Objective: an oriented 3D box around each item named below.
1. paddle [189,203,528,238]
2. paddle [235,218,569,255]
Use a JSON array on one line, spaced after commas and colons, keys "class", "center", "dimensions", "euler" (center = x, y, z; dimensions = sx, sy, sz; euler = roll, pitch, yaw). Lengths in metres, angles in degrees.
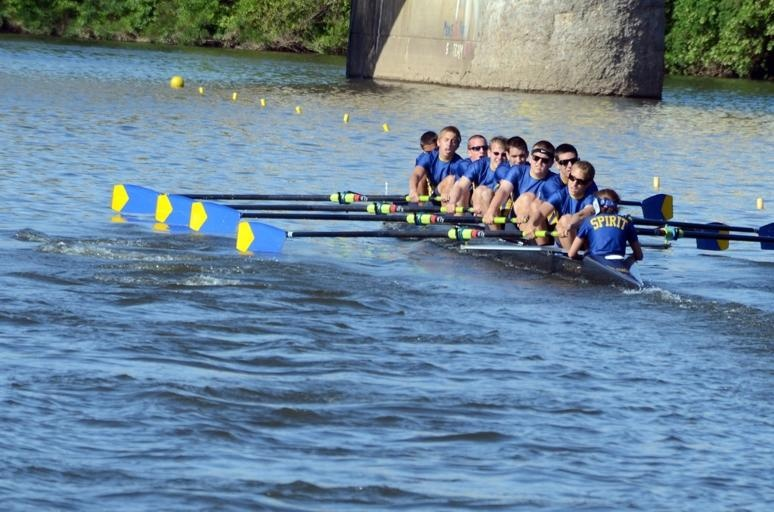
[{"class": "paddle", "center": [-0.541, -0.624, 25.599], "dimensions": [0.280, 0.705, 7.804], "euler": [17, 10, 36]}, {"class": "paddle", "center": [0.051, -0.271, 23.598], "dimensions": [6.673, 0.597, 0.238], "euler": [2, 0, 42]}]
